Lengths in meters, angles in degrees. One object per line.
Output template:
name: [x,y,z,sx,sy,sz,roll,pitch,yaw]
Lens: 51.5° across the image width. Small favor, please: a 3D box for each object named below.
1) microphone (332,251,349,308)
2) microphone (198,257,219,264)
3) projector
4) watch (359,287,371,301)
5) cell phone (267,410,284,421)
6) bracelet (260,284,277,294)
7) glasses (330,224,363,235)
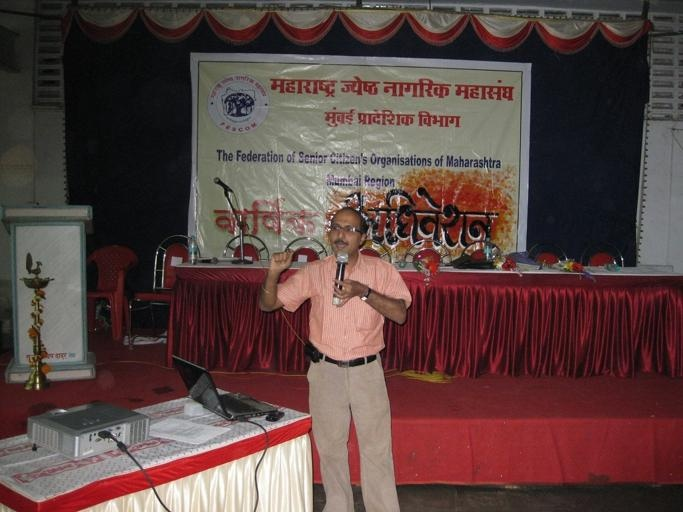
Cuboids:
microphone: [0.000,0.139,4.805,0.108,0.345,0.255,-1,3,1]
microphone: [-1.278,0.035,6.778,0.184,0.047,0.234,-2,2,-11]
projector: [-1.548,1.050,4.311,0.709,0.288,0.222,-1,3,5]
watch: [0.166,0.253,4.754,0.078,0.054,0.085,-45,-13,-14]
cell phone: [-0.421,0.998,4.481,0.051,0.027,0.087,2,1,19]
bracelet: [-0.493,0.218,4.888,0.079,0.086,0.079,0,0,-16]
glasses: [0.044,-0.194,4.846,0.243,0.091,0.107,-1,3,3]
